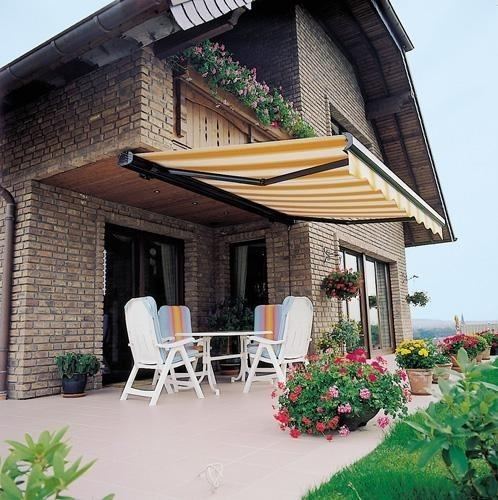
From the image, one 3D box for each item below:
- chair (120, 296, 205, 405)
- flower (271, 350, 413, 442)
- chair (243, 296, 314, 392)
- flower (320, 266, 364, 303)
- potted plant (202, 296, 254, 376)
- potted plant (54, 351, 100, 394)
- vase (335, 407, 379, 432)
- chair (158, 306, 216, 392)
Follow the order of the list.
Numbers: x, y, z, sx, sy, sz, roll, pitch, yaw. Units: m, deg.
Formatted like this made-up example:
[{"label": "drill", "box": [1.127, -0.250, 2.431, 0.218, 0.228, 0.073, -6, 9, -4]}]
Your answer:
[{"label": "chair", "box": [-1.216, 1.386, 6.356, 0.838, 1.310, 0.955, -9, -14, 43]}, {"label": "flower", "box": [0.739, 1.253, 4.007, 0.917, 0.558, 0.882, -8, -8, 40]}, {"label": "chair", "box": [0.515, 1.502, 7.265, 1.091, 1.349, 1.141, -8, -13, 14]}, {"label": "flower", "box": [1.957, 0.711, 9.582, 0.630, 0.636, 0.645, 2, 1, -21]}, {"label": "potted plant", "box": [-0.201, 1.741, 9.660, 0.993, 1.499, 1.147, 20, -29, -24]}, {"label": "potted plant", "box": [-2.631, 1.832, 6.820, 0.579, 0.558, 0.537, 1, -7, -32]}, {"label": "vase", "box": [0.932, 1.456, 4.053, 0.290, 0.107, 0.282, 3, -13, -24]}, {"label": "chair", "box": [-0.955, 1.633, 7.361, 0.921, 1.411, 0.848, 2, -2, 12]}]
